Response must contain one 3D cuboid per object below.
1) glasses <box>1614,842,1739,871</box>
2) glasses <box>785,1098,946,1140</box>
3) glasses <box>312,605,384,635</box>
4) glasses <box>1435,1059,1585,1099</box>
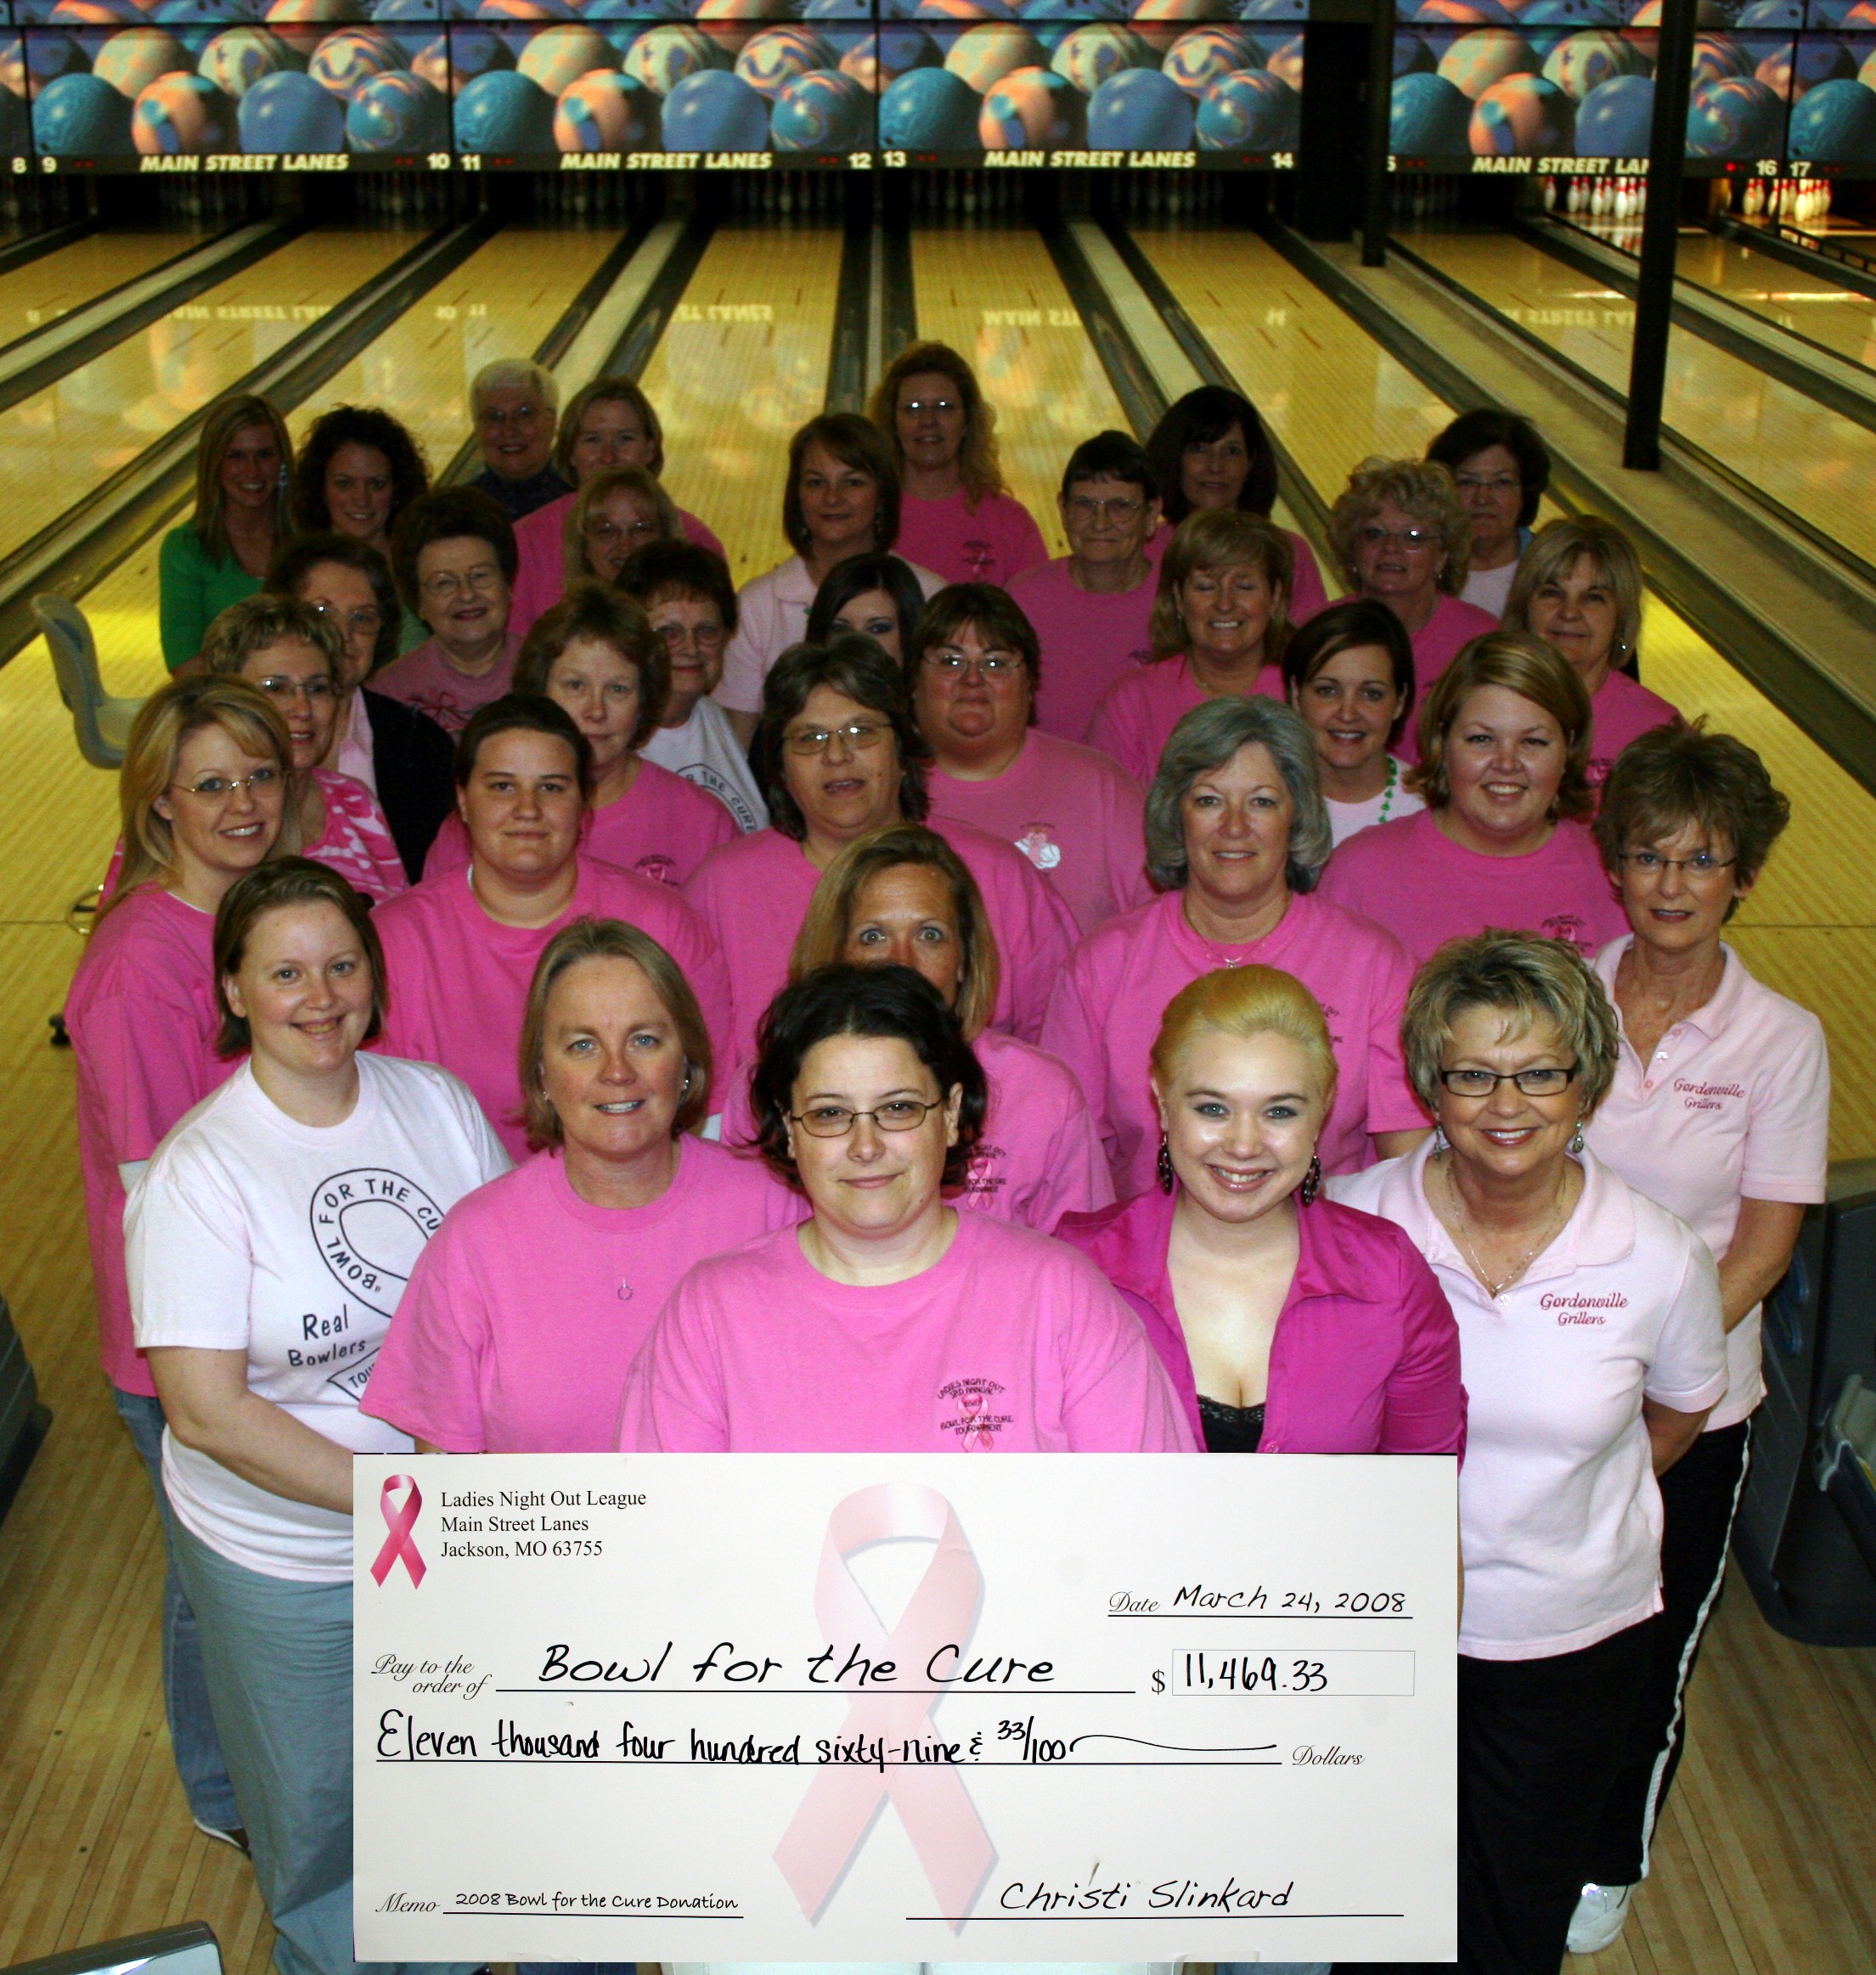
[{"bbox_3d":[0.969,-0.172,2.275,0.128,0.034,0.040,2,12,17],"label":"glasses"},{"bbox_3d":[-0.063,0.109,1.502,0.124,0.033,0.049,-2,11,-1],"label":"glasses"},{"bbox_3d":[-1.186,-0.752,3.550,0.139,0.036,0.129,3,-3,-18],"label":"glasses"},{"bbox_3d":[0.602,0.094,1.831,0.140,0.039,0.039,1,12,12],"label":"glasses"}]
